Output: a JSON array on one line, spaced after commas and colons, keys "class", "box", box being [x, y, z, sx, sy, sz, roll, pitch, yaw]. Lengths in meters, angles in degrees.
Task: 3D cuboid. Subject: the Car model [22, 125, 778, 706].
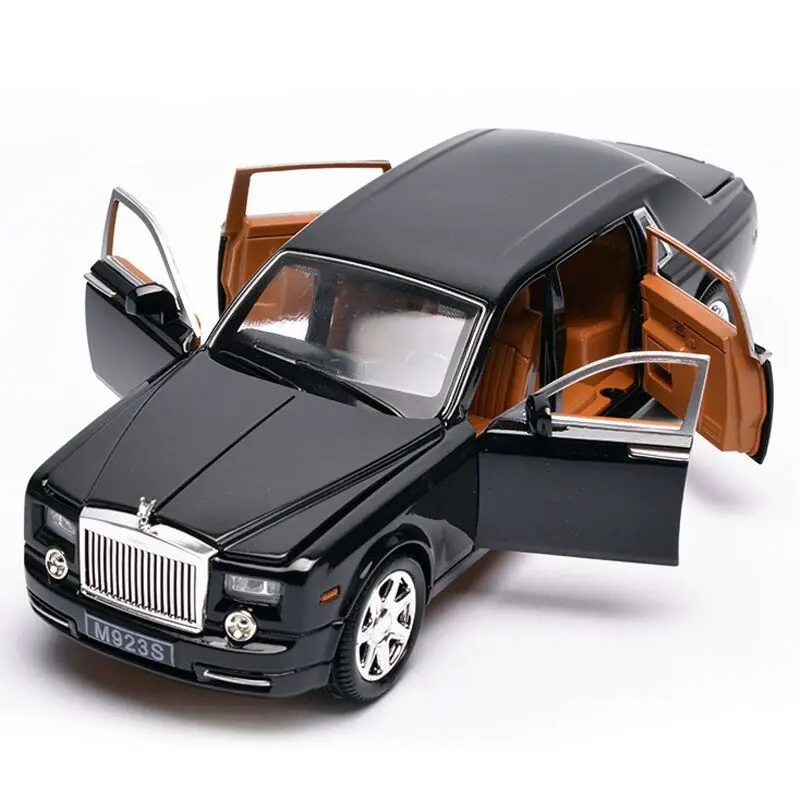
[{"class": "Car model", "box": [0.096, 0.077, 4.644, 3.450, 1.248, 4.006, 20, 44, 21]}]
